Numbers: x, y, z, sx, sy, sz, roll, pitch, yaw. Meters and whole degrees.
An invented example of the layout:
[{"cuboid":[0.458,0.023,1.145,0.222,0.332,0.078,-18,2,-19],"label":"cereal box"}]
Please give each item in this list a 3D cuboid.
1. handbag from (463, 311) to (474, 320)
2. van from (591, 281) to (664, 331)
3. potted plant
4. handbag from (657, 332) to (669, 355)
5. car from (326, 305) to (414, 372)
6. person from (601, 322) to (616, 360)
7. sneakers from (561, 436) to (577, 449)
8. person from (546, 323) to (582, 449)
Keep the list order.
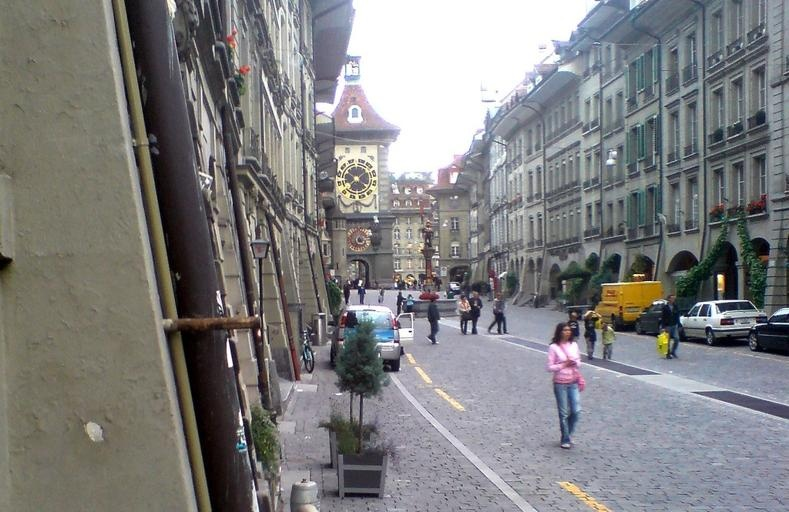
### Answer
[{"cuboid":[3.536,2.846,37.697,0.419,0.455,0.776,0,12,6],"label":"handbag"},{"cuboid":[11.841,2.189,39.706,2.523,2.543,4.627,0,0,-9],"label":"van"},{"cuboid":[-0.558,2.437,12.545,0.770,2.183,2.065,0,1,-1],"label":"potted plant"},{"cuboid":[8.606,2.764,24.912,0.300,0.684,0.459,-2,-3,16],"label":"handbag"},{"cuboid":[-0.540,2.487,23.873,1.773,1.364,2.751,0,4,-5],"label":"car"},{"cuboid":[6.699,2.624,24.395,0.395,1.082,0.422,-3,13,11],"label":"person"},{"cuboid":[2.648,2.851,11.900,0.110,0.146,0.327,0,-12,2],"label":"sneakers"},{"cuboid":[2.684,1.980,12.138,0.487,1.850,0.843,-1,-3,-1],"label":"person"}]
